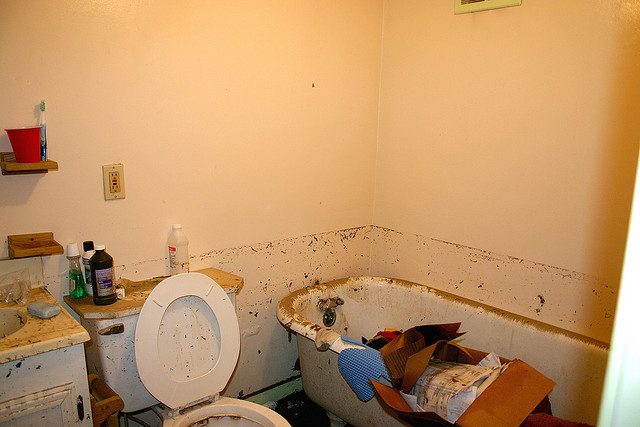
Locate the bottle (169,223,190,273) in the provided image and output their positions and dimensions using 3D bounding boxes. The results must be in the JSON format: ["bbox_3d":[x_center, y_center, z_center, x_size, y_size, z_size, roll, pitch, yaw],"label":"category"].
[{"bbox_3d":[-0.748,0.178,2.374,0.104,0.258,0.085,-5,8,-18],"label":"bottle"}]

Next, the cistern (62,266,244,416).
[{"bbox_3d":[-0.936,0.627,2.131,0.414,0.579,0.394,-7,8,-29],"label":"cistern"}]

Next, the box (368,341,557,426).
[{"bbox_3d":[0.665,0.781,2.005,0.483,0.197,0.577,-7,11,-37],"label":"box"}]

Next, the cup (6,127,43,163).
[{"bbox_3d":[-1.247,-0.293,1.973,0.178,0.188,0.134,-4,9,-34],"label":"cup"}]

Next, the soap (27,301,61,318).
[{"bbox_3d":[-1.167,0.403,1.918,0.123,0.051,0.074,1,8,28],"label":"soap"}]

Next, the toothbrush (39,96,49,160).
[{"bbox_3d":[-1.239,-0.380,2.007,0.035,0.273,0.037,8,10,32],"label":"toothbrush"}]

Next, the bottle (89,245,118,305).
[{"bbox_3d":[-0.992,0.277,2.062,0.100,0.266,0.063,-5,8,-15],"label":"bottle"}]
